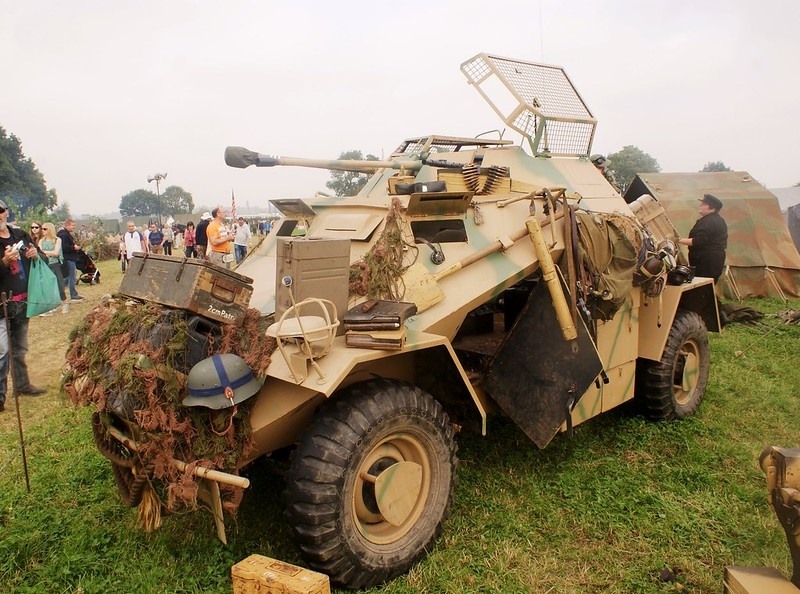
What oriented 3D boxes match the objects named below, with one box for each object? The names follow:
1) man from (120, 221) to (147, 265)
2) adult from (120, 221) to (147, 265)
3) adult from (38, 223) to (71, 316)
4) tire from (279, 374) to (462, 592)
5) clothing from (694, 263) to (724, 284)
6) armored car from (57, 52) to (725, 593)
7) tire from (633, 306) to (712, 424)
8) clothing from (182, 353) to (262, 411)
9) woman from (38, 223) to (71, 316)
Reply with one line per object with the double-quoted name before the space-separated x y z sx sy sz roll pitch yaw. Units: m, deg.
"man" -6.445 -1.110 13.284 0.505 1.360 0.333 -5 13 -14
"adult" -6.450 -1.114 13.295 0.529 1.377 0.327 -4 15 -11
"adult" -5.967 -0.533 9.393 0.362 1.408 0.432 8 18 7
"tire" -0.224 1.265 3.687 0.298 1.010 0.962 0 47 49
"clothing" 4.731 -0.384 8.461 0.246 0.519 0.327 -21 16 -38
"armored car" 0.171 0.220 5.759 5.942 3.880 3.701 -6 5 -36
"tire" 3.049 0.791 6.129 1.111 1.227 0.367 -14 16 -35
"clothing" -1.209 0.516 3.635 0.559 0.301 0.495 -12 12 -24
"woman" -5.939 -0.511 9.399 0.355 1.354 0.399 7 15 18
